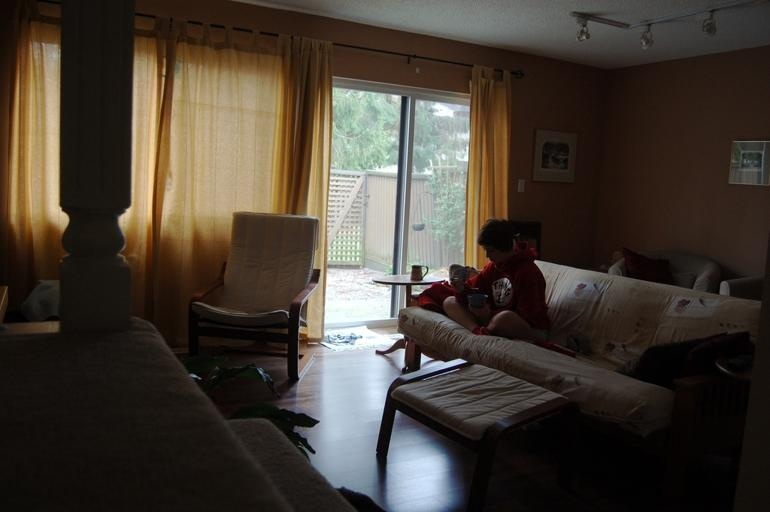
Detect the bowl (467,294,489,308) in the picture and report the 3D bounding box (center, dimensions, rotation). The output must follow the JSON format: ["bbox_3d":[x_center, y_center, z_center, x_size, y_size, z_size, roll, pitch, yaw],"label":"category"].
[{"bbox_3d":[0.607,0.296,3.702,0.087,0.070,0.103,-2,5,-36],"label":"bowl"}]

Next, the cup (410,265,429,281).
[{"bbox_3d":[0.289,0.139,4.546,0.155,0.107,0.096,1,1,-24],"label":"cup"}]

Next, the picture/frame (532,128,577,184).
[{"bbox_3d":[1.730,-1.045,5.755,0.585,0.552,0.038,-5,11,-30],"label":"picture/frame"}]

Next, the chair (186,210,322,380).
[{"bbox_3d":[-0.916,0.271,4.047,0.855,1.037,0.961,5,10,10],"label":"chair"}]

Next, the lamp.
[{"bbox_3d":[2.045,-1.770,4.452,1.024,0.236,0.708,7,11,22],"label":"lamp"}]

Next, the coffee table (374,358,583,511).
[{"bbox_3d":[0.411,0.677,2.649,0.696,0.413,0.649,-9,19,-38],"label":"coffee table"}]

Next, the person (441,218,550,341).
[{"bbox_3d":[0.738,0.210,3.748,0.591,0.893,0.771,-4,5,-30],"label":"person"}]

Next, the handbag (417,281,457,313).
[{"bbox_3d":[0.374,0.281,4.044,0.215,0.091,0.209,-10,10,-31],"label":"handbag"}]

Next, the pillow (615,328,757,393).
[{"bbox_3d":[1.437,0.499,2.691,0.537,0.344,0.290,10,12,33],"label":"pillow"}]

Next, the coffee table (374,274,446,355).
[{"bbox_3d":[0.206,0.458,4.571,0.608,0.617,0.596,-4,8,-44],"label":"coffee table"}]
